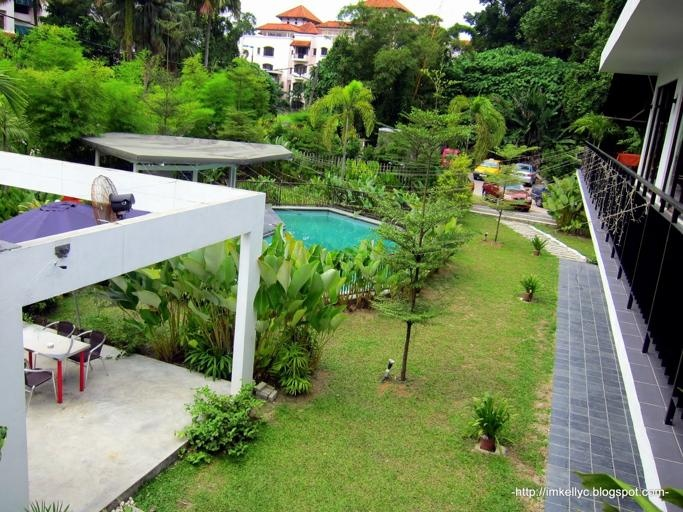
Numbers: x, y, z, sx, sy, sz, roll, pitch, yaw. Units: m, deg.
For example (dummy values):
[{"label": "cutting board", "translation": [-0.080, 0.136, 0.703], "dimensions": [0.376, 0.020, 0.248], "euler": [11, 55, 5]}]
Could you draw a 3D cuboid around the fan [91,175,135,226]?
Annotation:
[{"label": "fan", "translation": [-3.425, -0.781, 7.491], "dimensions": [0.575, 0.899, 0.524], "euler": [-2, 8, -11]}]

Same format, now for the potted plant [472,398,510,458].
[{"label": "potted plant", "translation": [2.526, 2.762, 8.456], "dimensions": [0.564, 0.801, 0.727], "euler": [8, 16, 20]}]

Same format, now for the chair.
[{"label": "chair", "translation": [-5.146, 1.844, 8.977], "dimensions": [1.397, 0.949, 1.017], "euler": [11, 17, 28]}]

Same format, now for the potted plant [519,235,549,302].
[{"label": "potted plant", "translation": [6.219, 0.427, 16.077], "dimensions": [0.812, 1.334, 3.235], "euler": [7, 22, 20]}]
